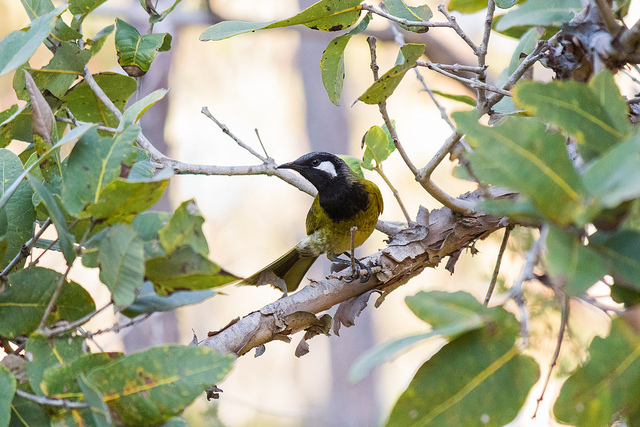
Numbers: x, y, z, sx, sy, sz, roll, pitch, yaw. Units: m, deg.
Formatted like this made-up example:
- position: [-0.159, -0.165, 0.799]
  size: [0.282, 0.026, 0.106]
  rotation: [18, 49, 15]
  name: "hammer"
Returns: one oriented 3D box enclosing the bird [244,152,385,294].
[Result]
- position: [-0.012, 0.014, 2.337]
  size: [0.257, 0.428, 0.701]
  rotation: [5, -16, -36]
  name: "bird"
